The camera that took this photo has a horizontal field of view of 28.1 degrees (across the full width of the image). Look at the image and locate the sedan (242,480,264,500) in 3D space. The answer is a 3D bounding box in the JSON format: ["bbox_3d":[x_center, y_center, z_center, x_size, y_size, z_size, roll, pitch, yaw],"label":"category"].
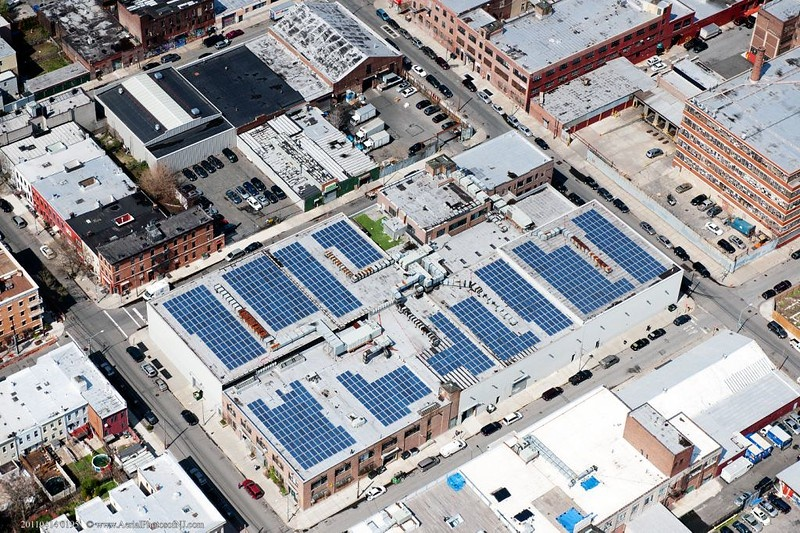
[{"bbox_3d":[-36.724,55.466,397.625,3.149,2.556,5.498,-34,71,-25],"label":"sedan"}]

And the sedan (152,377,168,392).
[{"bbox_3d":[-61.536,30.287,413.414,2.504,1.697,5.125,-30,70,-19],"label":"sedan"}]

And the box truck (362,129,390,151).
[{"bbox_3d":[-7.288,-36.363,464.372,8.033,4.025,3.916,-23,49,-21],"label":"box truck"}]

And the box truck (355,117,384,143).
[{"bbox_3d":[-8.259,-39.391,466.574,9.593,4.804,4.337,-27,49,-21],"label":"box truck"}]

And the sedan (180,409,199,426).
[{"bbox_3d":[-53.716,38.671,408.593,4.953,1.546,2.730,40,82,11],"label":"sedan"}]

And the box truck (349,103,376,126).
[{"bbox_3d":[-11.323,-44.714,470.846,7.873,3.945,4.106,-26,48,-25],"label":"box truck"}]
